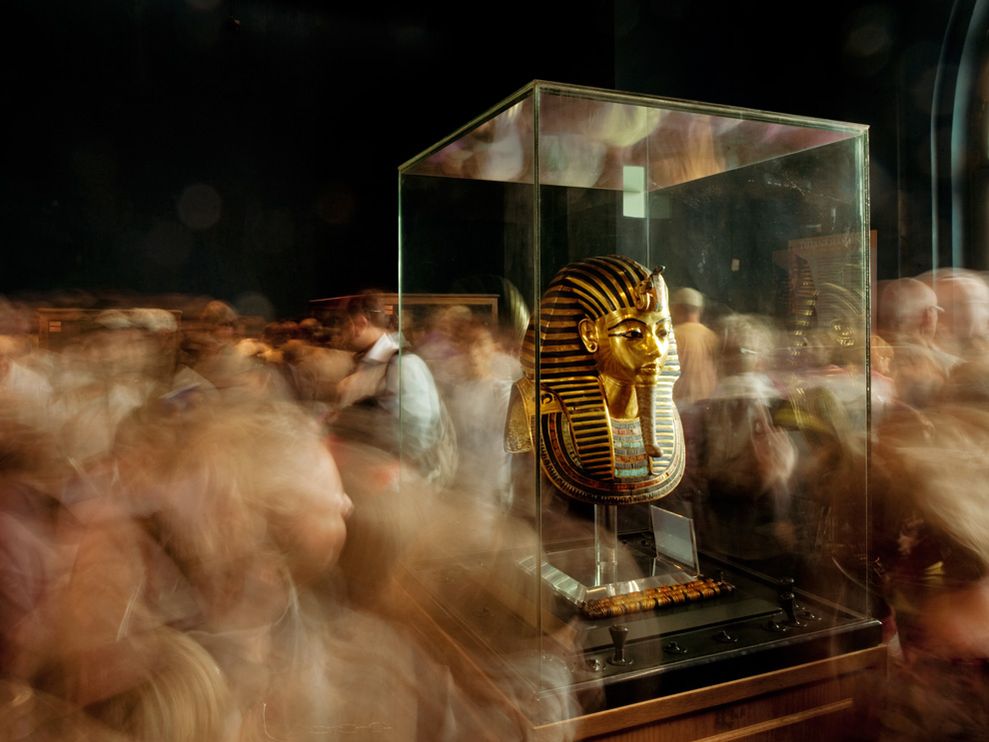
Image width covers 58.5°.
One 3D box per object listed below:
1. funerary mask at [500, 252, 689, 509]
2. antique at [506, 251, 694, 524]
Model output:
[{"bbox_3d":[0.332,0.024,2.504,0.551,0.686,0.420,-3,7,-30],"label":"funerary mask"},{"bbox_3d":[0.315,0.022,2.506,0.507,0.694,0.381,-1,4,-19],"label":"antique"}]
